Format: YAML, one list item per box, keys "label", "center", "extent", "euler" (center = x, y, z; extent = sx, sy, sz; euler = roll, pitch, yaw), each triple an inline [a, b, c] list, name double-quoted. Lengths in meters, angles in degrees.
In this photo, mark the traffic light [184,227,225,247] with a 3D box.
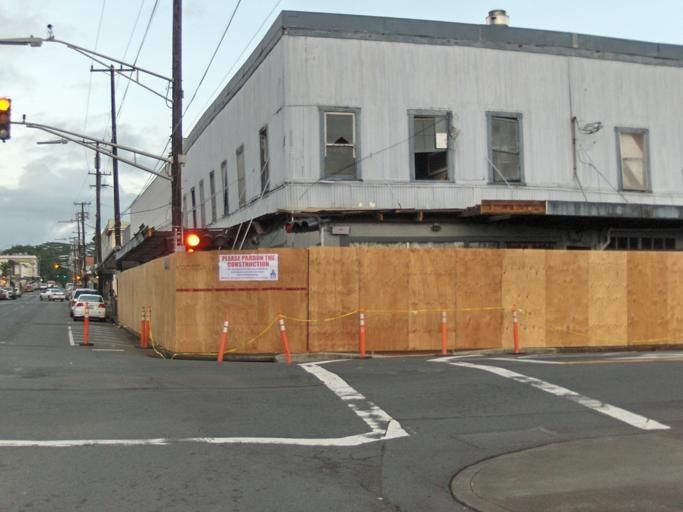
- label: "traffic light"
  center: [-3.733, -0.478, 23.809]
  extent: [0.896, 0.601, 1.751]
  euler: [1, 5, 13]
